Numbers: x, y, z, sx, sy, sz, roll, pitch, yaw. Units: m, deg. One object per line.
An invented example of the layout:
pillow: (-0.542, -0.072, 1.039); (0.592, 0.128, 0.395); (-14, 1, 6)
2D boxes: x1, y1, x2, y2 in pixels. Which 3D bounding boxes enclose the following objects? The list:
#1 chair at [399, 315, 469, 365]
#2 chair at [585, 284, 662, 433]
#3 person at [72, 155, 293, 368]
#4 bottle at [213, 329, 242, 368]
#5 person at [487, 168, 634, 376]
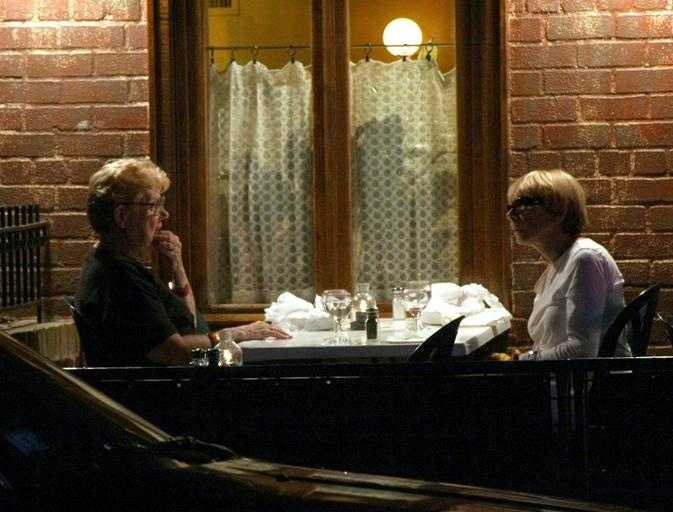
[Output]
chair: (0.314, 0.292, 2.534); (0.159, 0.110, 0.253); (-28, -2, -26)
chair: (1.021, 0.308, 2.850); (0.342, 0.478, 0.356); (0, -2, 11)
person: (-0.543, 0.045, 2.911); (0.744, 0.751, 0.542); (-2, 2, -4)
bottle: (-0.300, 0.249, 2.180); (0.096, 0.105, 0.096); (-2, -1, 12)
person: (0.714, 0.083, 3.207); (0.640, 0.921, 0.746); (2, -5, 4)
